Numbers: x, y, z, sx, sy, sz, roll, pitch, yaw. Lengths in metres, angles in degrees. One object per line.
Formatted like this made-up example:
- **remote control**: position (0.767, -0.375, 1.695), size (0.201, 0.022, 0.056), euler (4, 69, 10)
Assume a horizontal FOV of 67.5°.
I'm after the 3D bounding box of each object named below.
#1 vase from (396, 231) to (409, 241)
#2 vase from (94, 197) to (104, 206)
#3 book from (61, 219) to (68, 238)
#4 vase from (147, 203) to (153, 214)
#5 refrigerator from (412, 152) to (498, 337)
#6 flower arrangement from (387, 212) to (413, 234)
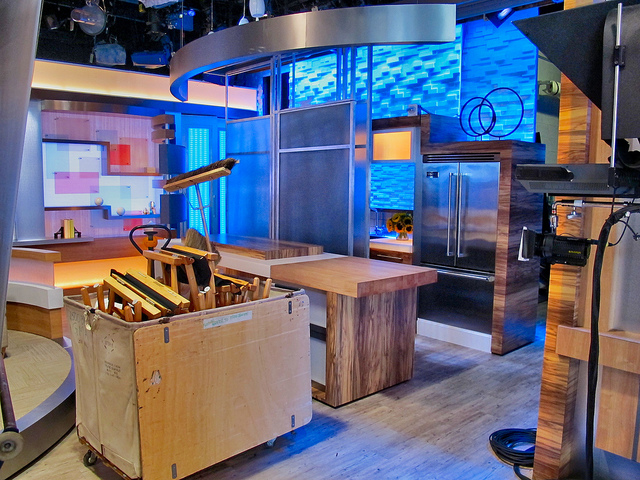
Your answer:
- **vase**: position (1.062, -0.050, 6.249), size (0.104, 0.103, 0.112), euler (0, 1, 26)
- **vase**: position (-3.716, -0.643, 8.047), size (0.127, 0.126, 0.218), euler (-2, 10, -25)
- **book**: position (-4.007, -0.169, 7.519), size (0.155, 0.251, 0.271), euler (-1, 3, -23)
- **vase**: position (-3.070, -0.562, 8.666), size (0.083, 0.165, 0.201), euler (-1, 10, -16)
- **refrigerator**: position (1.672, 0.058, 5.478), size (0.994, 2.040, 0.734), euler (5, 9, 30)
- **flower arrangement**: position (1.075, -0.224, 6.404), size (0.278, 0.239, 0.282), euler (3, 5, 34)
